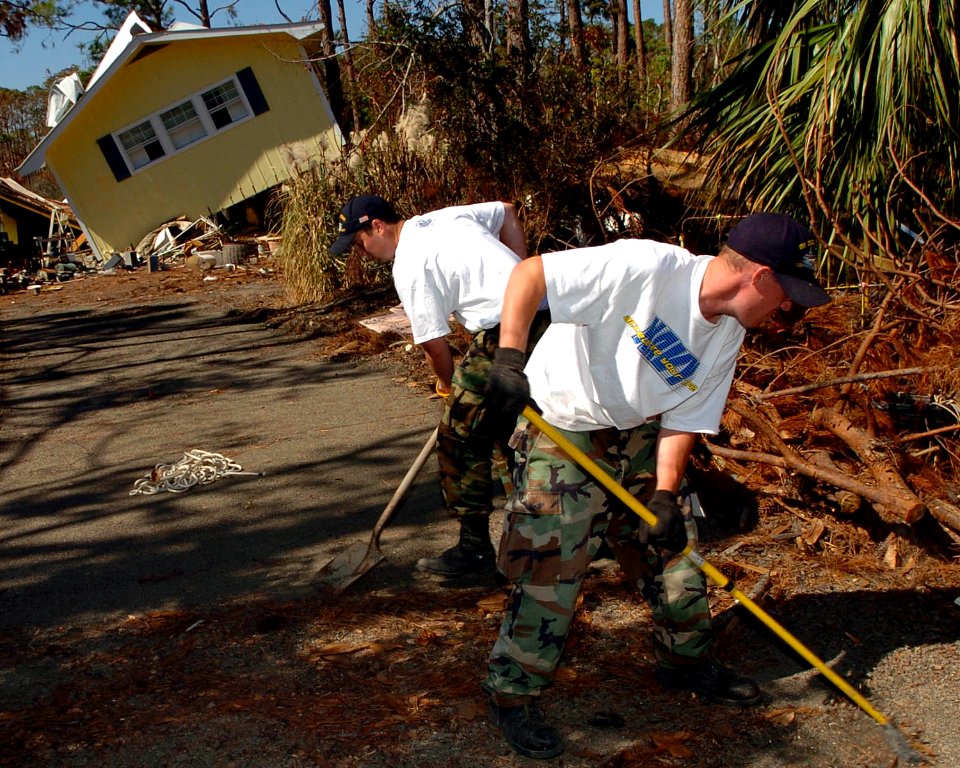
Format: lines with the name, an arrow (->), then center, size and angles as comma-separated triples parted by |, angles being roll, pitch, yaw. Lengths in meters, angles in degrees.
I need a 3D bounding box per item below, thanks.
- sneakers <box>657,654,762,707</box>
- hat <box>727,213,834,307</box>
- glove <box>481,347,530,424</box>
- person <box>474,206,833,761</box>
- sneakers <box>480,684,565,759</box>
sneakers -> 0.856, 1.104, 2.751 | 0.413, 0.138, 0.140 | 5, 18, 22
hat -> 0.945, -0.426, 2.342 | 0.410, 0.205, 0.238 | 27, 24, 0
glove -> 0.119, -0.012, 2.437 | 0.140, 0.251, 0.205 | 1, 26, 34
person -> 0.517, 0.404, 2.536 | 1.465, 1.852, 0.663 | -23, 24, -22
sneakers -> 0.155, 1.166, 2.458 | 0.195, 0.225, 0.234 | -17, 21, -8
